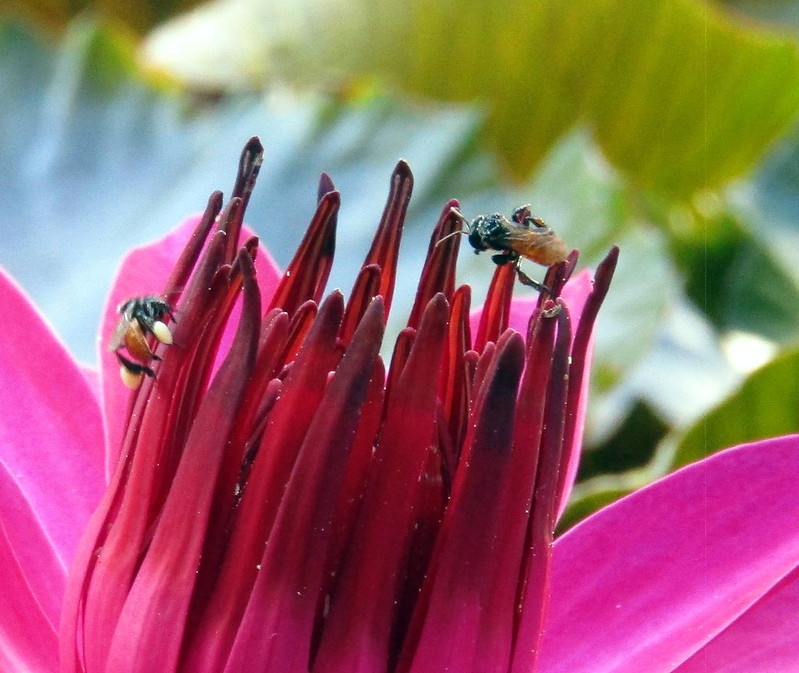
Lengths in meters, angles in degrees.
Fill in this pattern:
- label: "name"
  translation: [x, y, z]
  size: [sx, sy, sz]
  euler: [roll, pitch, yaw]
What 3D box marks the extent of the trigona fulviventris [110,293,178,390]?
- label: "trigona fulviventris"
  translation: [-0.165, 0.008, 0.728]
  size: [0.036, 0.017, 0.052]
  euler: [12, 54, -38]
